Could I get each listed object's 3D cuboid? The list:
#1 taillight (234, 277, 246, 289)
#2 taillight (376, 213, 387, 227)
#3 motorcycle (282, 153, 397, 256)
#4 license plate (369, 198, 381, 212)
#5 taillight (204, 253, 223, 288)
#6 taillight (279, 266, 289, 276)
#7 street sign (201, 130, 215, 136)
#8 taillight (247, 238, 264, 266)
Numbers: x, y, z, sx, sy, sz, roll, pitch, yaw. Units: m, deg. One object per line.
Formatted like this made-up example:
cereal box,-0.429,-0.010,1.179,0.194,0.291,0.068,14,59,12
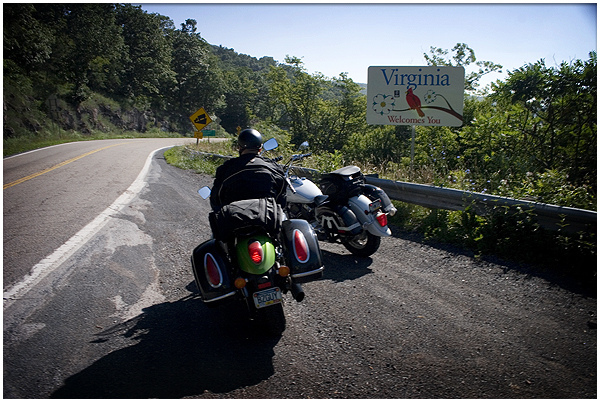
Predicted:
taillight,-0.792,1.079,5.010,0.191,0.183,0.044,3,-2,-15
taillight,1.475,0.345,6.897,0.160,0.176,0.201,-12,-19,-41
motorcycle,0.622,-0.028,7.771,1.299,1.526,2.690,-22,32,-39
license plate,1.373,0.084,6.965,0.214,0.128,0.037,-28,7,-27
taillight,-1.196,0.957,5.215,0.167,0.385,0.348,-9,19,-35
taillight,-0.213,0.932,5.088,0.121,0.118,0.078,4,15,6
street sign,-8.663,-6.425,36.142,1.064,0.595,1.442,-1,15,-12
taillight,-0.578,0.664,4.911,0.186,0.300,0.083,-19,-23,12
